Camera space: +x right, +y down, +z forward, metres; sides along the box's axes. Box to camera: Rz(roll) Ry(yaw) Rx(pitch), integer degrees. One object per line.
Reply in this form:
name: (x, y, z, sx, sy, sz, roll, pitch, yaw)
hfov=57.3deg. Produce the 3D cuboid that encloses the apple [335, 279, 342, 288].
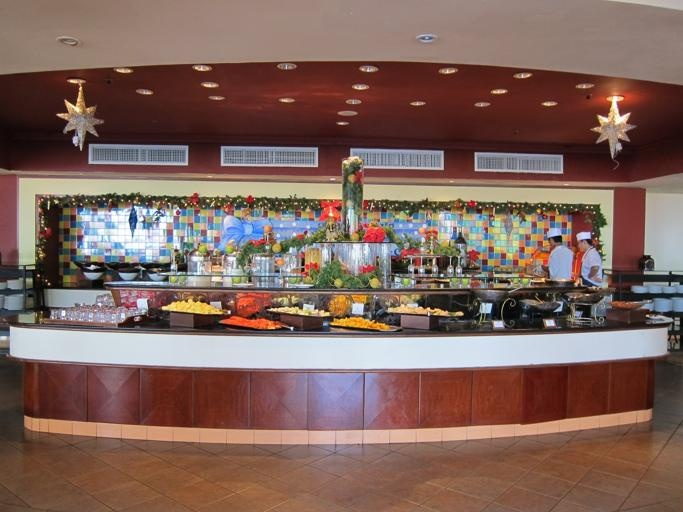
apple: (-0.031, 0.263, 6.159, 0.084, 0.067, 0.045, -9, 0, -4)

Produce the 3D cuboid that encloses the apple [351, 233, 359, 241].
apple: (0.135, -0.203, 6.381, 0.090, 0.078, 0.102, -1, 0, -2)

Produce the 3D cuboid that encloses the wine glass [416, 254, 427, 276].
wine glass: (1.061, 0.106, 8.275, 0.143, 0.243, 0.490, -1, 0, 7)

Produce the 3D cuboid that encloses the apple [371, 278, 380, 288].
apple: (0.345, 0.258, 6.190, 0.123, 0.083, 0.067, -1, 0, -40)

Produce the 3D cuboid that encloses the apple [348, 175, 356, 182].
apple: (0.113, -0.829, 6.592, 0.076, 0.072, 0.069, 1, 5, 8)

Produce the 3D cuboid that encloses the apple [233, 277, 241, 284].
apple: (-1.073, 0.246, 6.432, 0.073, 0.040, 0.065, 1, 2, -21)

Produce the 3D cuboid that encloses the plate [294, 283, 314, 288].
plate: (-0.376, 0.289, 6.272, 0.194, 0.047, 0.247, -1, 0, -1)

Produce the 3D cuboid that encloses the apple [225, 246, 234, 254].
apple: (-1.252, -0.071, 7.057, 0.083, 0.063, 0.070, -5, 4, 18)

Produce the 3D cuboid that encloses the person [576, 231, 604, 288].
person: (3.546, 0.028, 8.916, 0.319, 0.800, 2.327, -2, 0, 21)

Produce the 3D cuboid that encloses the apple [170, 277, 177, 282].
apple: (-1.759, 0.241, 6.552, 0.072, 0.058, 0.065, 2, -4, -14)

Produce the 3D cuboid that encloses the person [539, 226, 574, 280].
person: (3.096, -0.016, 8.865, 0.298, 0.714, 0.756, -2, 0, 17)

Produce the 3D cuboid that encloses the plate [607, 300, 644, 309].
plate: (3.259, 0.567, 7.151, 0.282, 0.103, 0.370, -1, 0, 0)

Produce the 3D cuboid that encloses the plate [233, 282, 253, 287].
plate: (-0.982, 0.283, 6.292, 0.211, 0.043, 0.173, -1, 0, 8)

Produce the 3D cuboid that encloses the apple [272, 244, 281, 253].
apple: (-0.701, -0.093, 6.801, 0.103, 0.087, 0.065, -1, 0, -8)

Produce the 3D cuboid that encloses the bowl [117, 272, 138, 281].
bowl: (-3.432, 0.329, 10.077, 0.199, 0.102, 0.180, 1, -6, -18)

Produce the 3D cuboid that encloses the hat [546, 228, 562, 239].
hat: (3.382, -0.372, 9.990, 0.317, 0.162, 0.283, 0, 0, 4)

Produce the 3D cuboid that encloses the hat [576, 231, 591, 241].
hat: (3.603, -0.299, 9.275, 0.243, 0.153, 0.242, 0, -3, 5)
